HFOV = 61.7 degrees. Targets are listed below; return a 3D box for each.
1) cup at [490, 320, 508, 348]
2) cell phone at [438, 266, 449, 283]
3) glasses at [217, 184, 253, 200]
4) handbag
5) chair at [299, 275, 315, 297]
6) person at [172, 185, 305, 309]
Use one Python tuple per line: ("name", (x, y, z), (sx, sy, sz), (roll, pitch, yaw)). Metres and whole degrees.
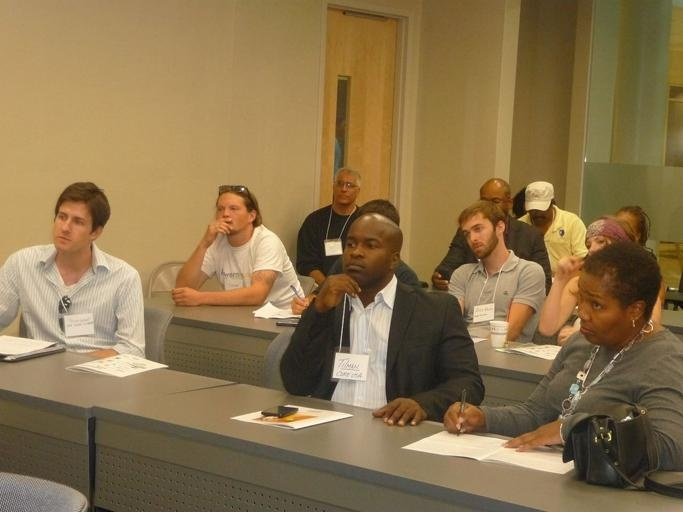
("cup", (0.867, 0.448, 3.261), (0.132, 0.148, 0.129), (3, 0, 0))
("cell phone", (0.801, 0.152, 4.532), (0.078, 0.108, 0.059), (-27, -19, 24))
("glasses", (-0.812, -0.477, 4.227), (0.270, 0.086, 0.180), (5, 4, 40))
("handbag", (0.688, 0.446, 1.457), (0.180, 0.171, 0.236), (-4, -3, 42))
("chair", (-0.268, 0.248, 4.537), (0.131, 0.193, 0.145), (-1, 8, 0))
("person", (-0.799, -0.018, 4.519), (0.743, 0.901, 1.083), (-5, -6, 32))
